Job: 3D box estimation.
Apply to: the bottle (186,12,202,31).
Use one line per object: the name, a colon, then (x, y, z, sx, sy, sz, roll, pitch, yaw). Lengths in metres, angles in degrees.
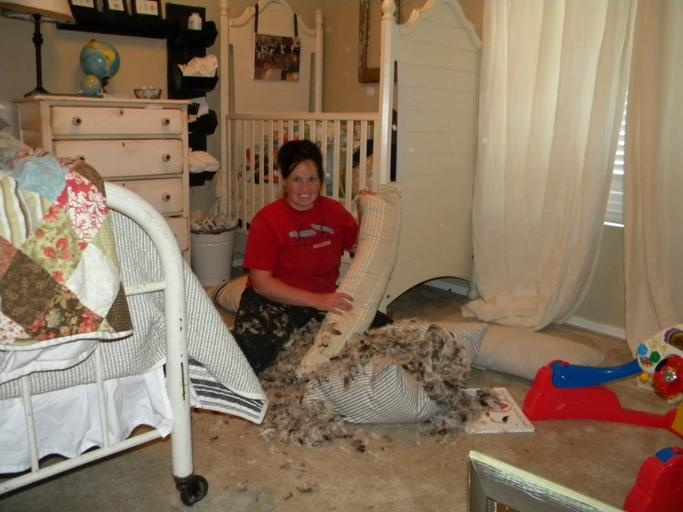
bottle: (-0.994, -1.582, 3.485, 0.090, 0.110, 0.079, -3, 18, -16)

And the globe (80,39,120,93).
globe: (-1.432, -1.146, 3.046, 0.205, 0.373, 0.223, -1, 14, -42)

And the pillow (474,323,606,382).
pillow: (0.843, 0.380, 2.570, 0.638, 0.222, 0.576, 0, 8, -18)

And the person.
person: (-0.200, 0.026, 2.404, 0.600, 1.062, 0.600, -2, 12, -30)

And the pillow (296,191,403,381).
pillow: (0.039, 0.077, 2.284, 0.416, 0.755, 0.405, -6, 12, -30)

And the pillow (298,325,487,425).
pillow: (0.143, 0.444, 2.225, 0.730, 0.355, 0.722, -3, 11, -30)
